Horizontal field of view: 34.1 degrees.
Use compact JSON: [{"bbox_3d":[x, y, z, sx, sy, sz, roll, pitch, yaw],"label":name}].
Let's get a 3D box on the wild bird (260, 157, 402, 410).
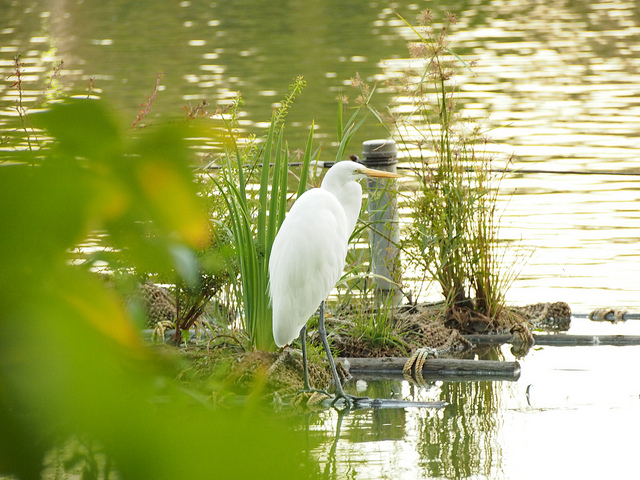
[{"bbox_3d":[0.010,0.132,3.699,0.346,0.886,0.601,-6,-4,25],"label":"wild bird"}]
